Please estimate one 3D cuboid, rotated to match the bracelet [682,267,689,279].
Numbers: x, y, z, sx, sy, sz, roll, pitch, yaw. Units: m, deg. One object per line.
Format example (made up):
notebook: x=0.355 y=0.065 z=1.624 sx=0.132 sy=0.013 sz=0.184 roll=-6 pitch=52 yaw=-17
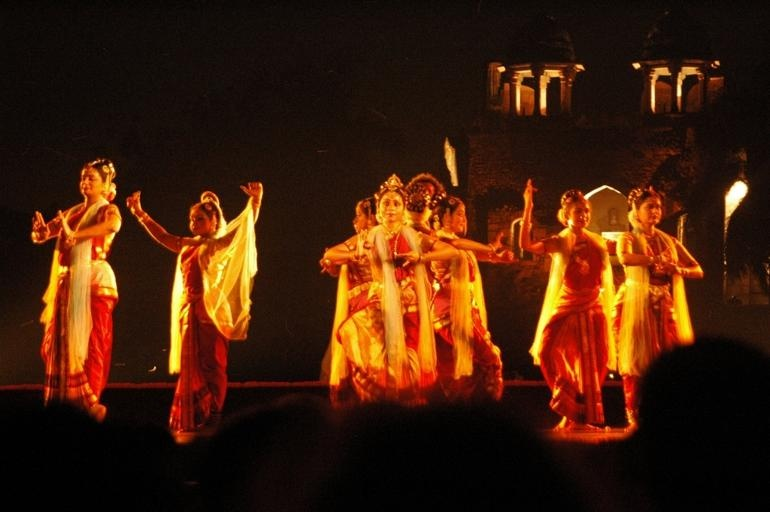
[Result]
bracelet: x=2.498 y=0.153 z=8.280 sx=0.077 sy=0.026 sz=0.096 roll=1 pitch=-46 yaw=10
